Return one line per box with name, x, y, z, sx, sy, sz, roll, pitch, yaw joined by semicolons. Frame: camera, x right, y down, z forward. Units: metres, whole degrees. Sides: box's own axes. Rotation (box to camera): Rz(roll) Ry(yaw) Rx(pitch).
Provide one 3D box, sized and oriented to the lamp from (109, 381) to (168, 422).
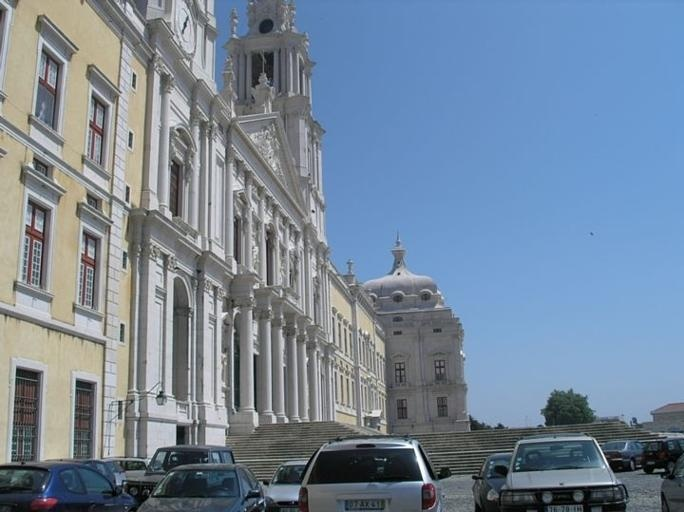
lamp;-7.938;5.704;34.528;2.060;1.436;0.552;5;-11;-34
